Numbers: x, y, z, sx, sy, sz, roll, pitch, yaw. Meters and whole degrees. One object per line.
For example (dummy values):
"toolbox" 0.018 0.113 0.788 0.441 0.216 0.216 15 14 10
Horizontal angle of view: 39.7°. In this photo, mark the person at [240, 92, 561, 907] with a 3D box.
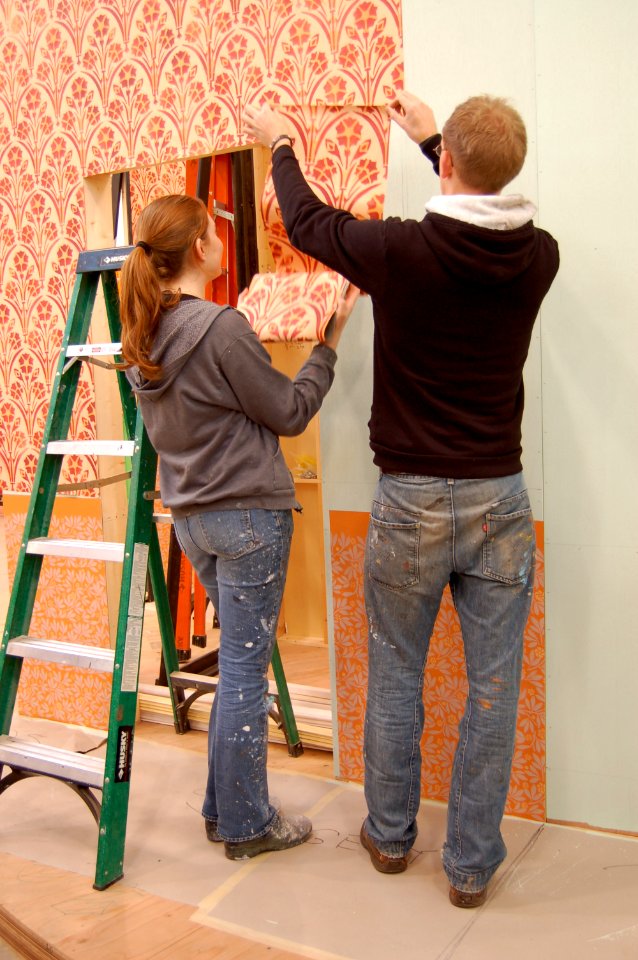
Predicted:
"person" 0.229 0.145 1.951 0.568 1.683 0.320 0 7 15
